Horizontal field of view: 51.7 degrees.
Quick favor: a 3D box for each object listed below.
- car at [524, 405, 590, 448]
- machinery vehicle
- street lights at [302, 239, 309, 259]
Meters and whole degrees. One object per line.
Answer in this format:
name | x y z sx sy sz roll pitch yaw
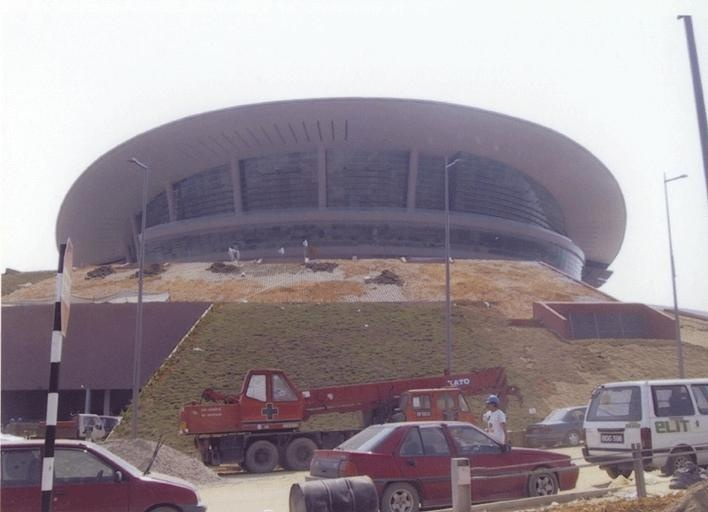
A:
car | 6.904 5.965 25.082 2.595 0.978 1.166 -1 -4 -23
machinery vehicle | -0.071 5.040 23.108 10.119 3.420 3.897 -3 -8 -11
street lights | -4.163 -0.569 63.985 0.554 2.021 0.959 0 -17 -8
